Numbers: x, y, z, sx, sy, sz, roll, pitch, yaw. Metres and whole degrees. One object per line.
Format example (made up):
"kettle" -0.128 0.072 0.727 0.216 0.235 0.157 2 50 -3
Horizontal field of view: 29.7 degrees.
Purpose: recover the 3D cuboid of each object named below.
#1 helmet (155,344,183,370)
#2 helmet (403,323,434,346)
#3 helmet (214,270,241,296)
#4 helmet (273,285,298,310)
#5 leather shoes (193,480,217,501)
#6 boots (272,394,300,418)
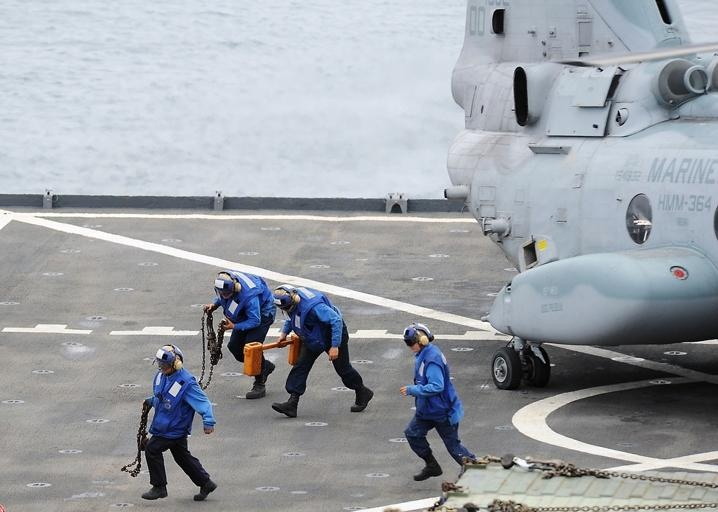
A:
"helmet" -3.091 1.669 22.156 0.532 0.383 0.408 2 18 -3
"helmet" 0.977 1.330 22.651 0.555 0.321 0.383 -8 0 4
"helmet" -2.549 0.562 26.028 0.555 0.480 0.406 6 56 6
"helmet" -1.347 0.754 25.388 0.462 0.455 0.435 -4 59 10
"leather shoes" -2.512 3.881 22.207 0.381 0.262 0.116 -35 31 18
"boots" -1.385 2.832 25.565 0.505 0.402 0.413 0 14 -5
